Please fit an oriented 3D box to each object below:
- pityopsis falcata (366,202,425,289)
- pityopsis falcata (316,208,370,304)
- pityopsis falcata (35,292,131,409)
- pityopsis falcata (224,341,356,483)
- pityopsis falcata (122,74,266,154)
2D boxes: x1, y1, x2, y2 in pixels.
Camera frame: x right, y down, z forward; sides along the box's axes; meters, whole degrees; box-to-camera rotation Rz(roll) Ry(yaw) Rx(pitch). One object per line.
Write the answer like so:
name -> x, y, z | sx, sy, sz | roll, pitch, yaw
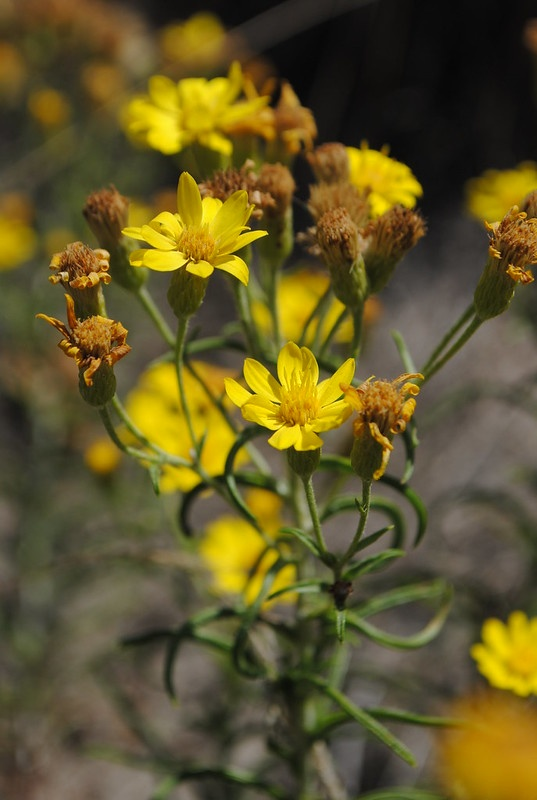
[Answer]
pityopsis falcata -> 0.087, -0.111, 0.596 | 0.050, 0.064, 0.029 | -32, 65, -23
pityopsis falcata -> 0.053, -0.098, 0.577 | 0.035, 0.063, 0.037 | -19, 38, 16
pityopsis falcata -> -0.120, -0.034, 0.543 | 0.055, 0.062, 0.043 | 37, 61, 19
pityopsis falcata -> 0.013, 0.000, 0.502 | 0.079, 0.038, 0.071 | 24, 56, 12
pityopsis falcata -> -0.057, -0.226, 0.640 | 0.107, 0.053, 0.095 | -1, 54, -6
